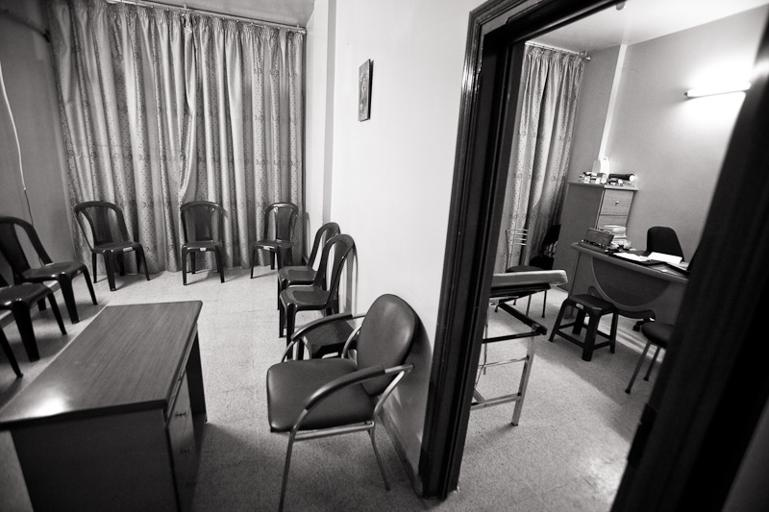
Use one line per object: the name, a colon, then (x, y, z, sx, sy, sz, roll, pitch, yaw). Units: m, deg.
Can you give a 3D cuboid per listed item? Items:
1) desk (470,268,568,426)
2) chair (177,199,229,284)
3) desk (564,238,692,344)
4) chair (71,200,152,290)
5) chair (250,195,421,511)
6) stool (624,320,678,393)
desk: (1.033, 0.760, 3.672, 0.666, 1.201, 0.809, 1, 18, -6)
chair: (-2.085, -0.164, 5.419, 0.507, 0.879, 0.563, -5, 16, -19)
desk: (2.321, 0.268, 4.381, 0.848, 0.768, 1.132, -11, 23, -25)
chair: (-3.005, -0.138, 5.147, 0.724, 1.085, 0.612, 15, 21, 32)
chair: (-0.355, 0.847, 3.442, 1.009, 1.212, 1.238, -4, 16, -15)
stool: (2.224, 0.793, 3.965, 0.236, 0.570, 0.645, 10, 18, 32)
